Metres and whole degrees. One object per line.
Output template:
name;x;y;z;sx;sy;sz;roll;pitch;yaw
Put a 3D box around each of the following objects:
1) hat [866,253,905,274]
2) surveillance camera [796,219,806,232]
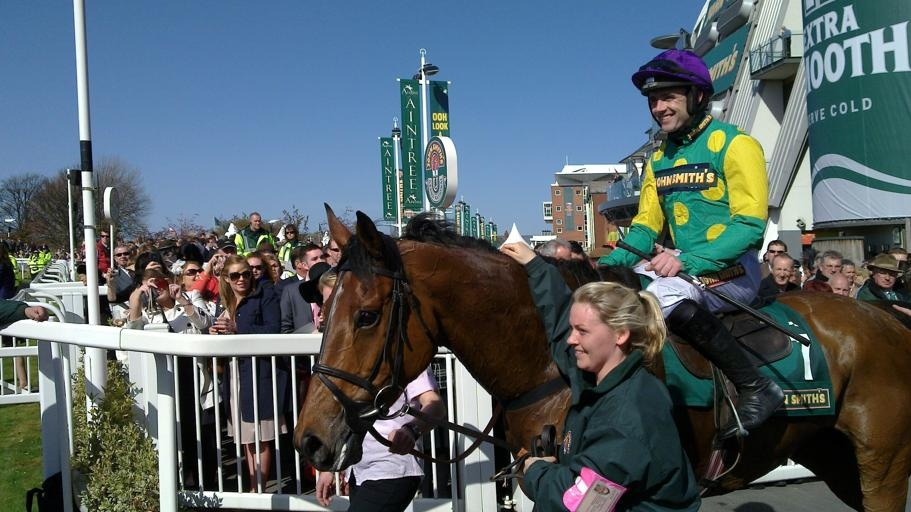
hat;7.372;0.080;15.344;0.378;0.175;0.445;8;-11;17
surveillance camera;12.838;-1.138;33.172;0.202;0.407;0.406;-5;35;-10
